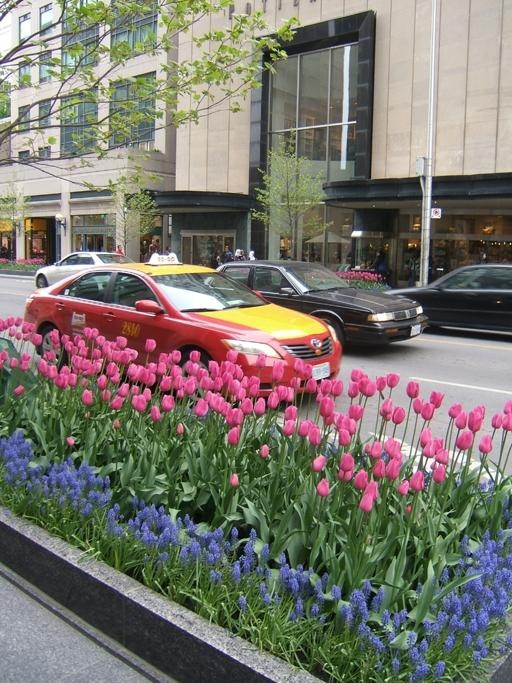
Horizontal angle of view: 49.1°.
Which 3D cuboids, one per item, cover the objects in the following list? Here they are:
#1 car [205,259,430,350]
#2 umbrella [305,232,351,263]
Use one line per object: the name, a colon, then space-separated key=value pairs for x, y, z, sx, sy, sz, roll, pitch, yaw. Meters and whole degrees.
car: x=0.982 y=-0.556 z=10.663 sx=3.702 sy=1.082 sz=1.725 roll=11 pitch=14 yaw=31
umbrella: x=4.034 y=-4.917 z=29.851 sx=1.709 sy=1.312 sz=1.649 roll=14 pitch=22 yaw=41
